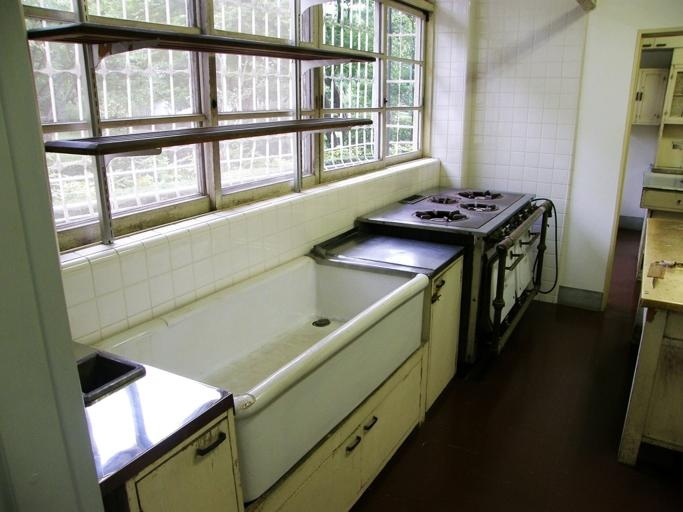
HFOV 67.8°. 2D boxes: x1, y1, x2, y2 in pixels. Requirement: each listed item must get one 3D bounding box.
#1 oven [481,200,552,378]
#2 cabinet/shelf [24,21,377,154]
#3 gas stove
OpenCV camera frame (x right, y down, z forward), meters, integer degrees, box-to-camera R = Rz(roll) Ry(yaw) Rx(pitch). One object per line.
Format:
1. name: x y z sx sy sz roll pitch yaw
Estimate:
1. oven: 1.283 0.257 3.765 0.276 0.756 1.104 9 33 31
2. cabinet/shelf: -0.555 -0.738 2.307 0.343 0.465 1.554 13 21 33
3. gas stove: 0.907 -0.385 3.964 0.939 0.176 1.378 13 23 38
